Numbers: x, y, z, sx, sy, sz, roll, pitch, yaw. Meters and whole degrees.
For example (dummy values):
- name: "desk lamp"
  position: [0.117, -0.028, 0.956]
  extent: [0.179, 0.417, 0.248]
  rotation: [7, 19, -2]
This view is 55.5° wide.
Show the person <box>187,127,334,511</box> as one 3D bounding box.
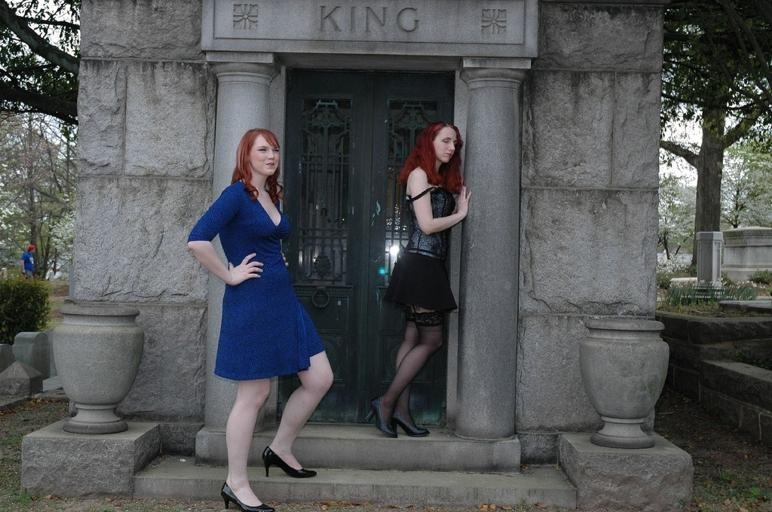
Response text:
- name: "person"
  position: [-1.162, 0.574, 6.721]
  extent: [1.214, 3.452, 0.515]
  rotation: [1, 2, -16]

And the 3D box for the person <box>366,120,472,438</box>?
- name: "person"
  position: [0.389, 0.253, 7.768]
  extent: [0.963, 3.306, 0.450]
  rotation: [1, 2, 3]
